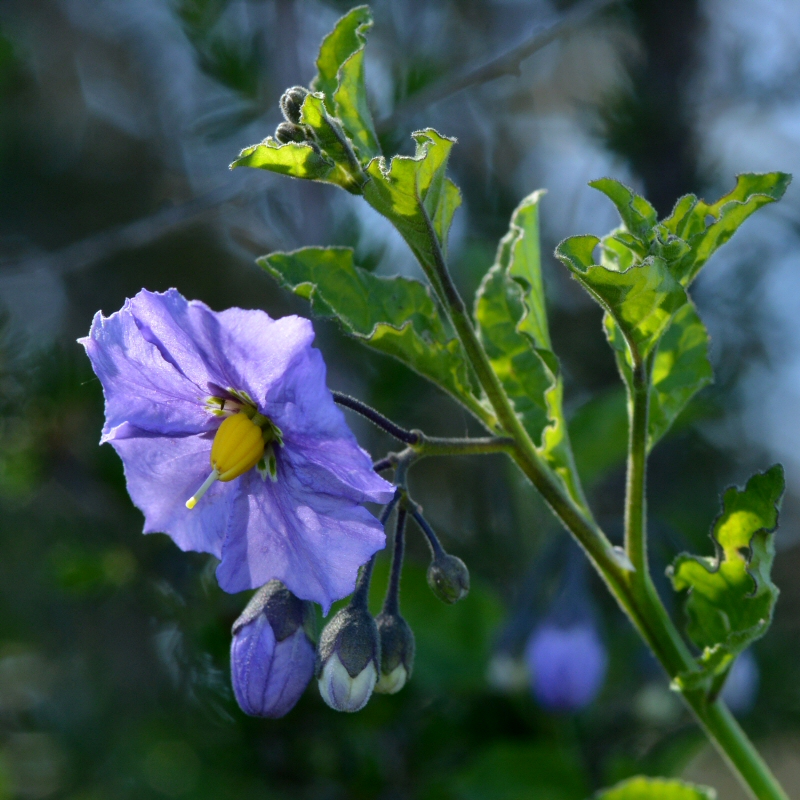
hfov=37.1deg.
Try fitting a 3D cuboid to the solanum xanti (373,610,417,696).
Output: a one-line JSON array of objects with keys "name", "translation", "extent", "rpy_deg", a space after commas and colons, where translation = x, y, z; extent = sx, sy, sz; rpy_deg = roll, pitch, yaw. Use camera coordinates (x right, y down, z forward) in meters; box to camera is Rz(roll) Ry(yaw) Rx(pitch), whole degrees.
[{"name": "solanum xanti", "translation": [-0.001, 0.474, 2.231], "extent": [0.084, 0.133, 0.104], "rpy_deg": [-2, -21, 1]}]

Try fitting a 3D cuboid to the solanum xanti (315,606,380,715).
[{"name": "solanum xanti", "translation": [-0.090, 0.455, 2.132], "extent": [0.084, 0.186, 0.095], "rpy_deg": [15, -25, -34]}]

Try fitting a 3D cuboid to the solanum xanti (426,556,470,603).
[{"name": "solanum xanti", "translation": [0.088, 0.320, 2.136], "extent": [0.069, 0.075, 0.078], "rpy_deg": [-9, 4, 16]}]

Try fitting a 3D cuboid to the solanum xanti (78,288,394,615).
[{"name": "solanum xanti", "translation": [-0.230, 0.045, 2.081], "extent": [0.586, 0.291, 0.755], "rpy_deg": [18, 21, -21]}]
